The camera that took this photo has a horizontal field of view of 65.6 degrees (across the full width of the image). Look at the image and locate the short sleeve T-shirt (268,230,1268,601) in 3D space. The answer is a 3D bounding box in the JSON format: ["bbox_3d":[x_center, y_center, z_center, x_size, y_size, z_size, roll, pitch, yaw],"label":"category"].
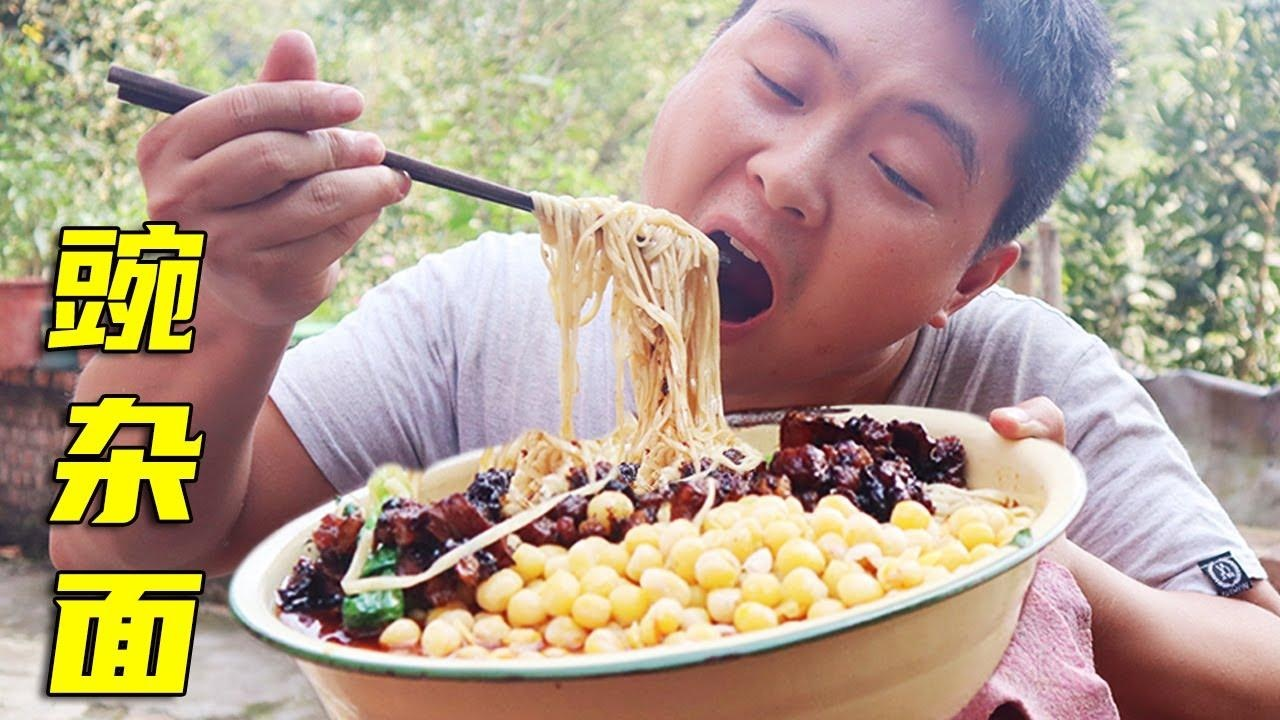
[{"bbox_3d":[0.437,0.076,5.013,2.560,2.508,3.601,1,1,-14],"label":"short sleeve T-shirt"}]
